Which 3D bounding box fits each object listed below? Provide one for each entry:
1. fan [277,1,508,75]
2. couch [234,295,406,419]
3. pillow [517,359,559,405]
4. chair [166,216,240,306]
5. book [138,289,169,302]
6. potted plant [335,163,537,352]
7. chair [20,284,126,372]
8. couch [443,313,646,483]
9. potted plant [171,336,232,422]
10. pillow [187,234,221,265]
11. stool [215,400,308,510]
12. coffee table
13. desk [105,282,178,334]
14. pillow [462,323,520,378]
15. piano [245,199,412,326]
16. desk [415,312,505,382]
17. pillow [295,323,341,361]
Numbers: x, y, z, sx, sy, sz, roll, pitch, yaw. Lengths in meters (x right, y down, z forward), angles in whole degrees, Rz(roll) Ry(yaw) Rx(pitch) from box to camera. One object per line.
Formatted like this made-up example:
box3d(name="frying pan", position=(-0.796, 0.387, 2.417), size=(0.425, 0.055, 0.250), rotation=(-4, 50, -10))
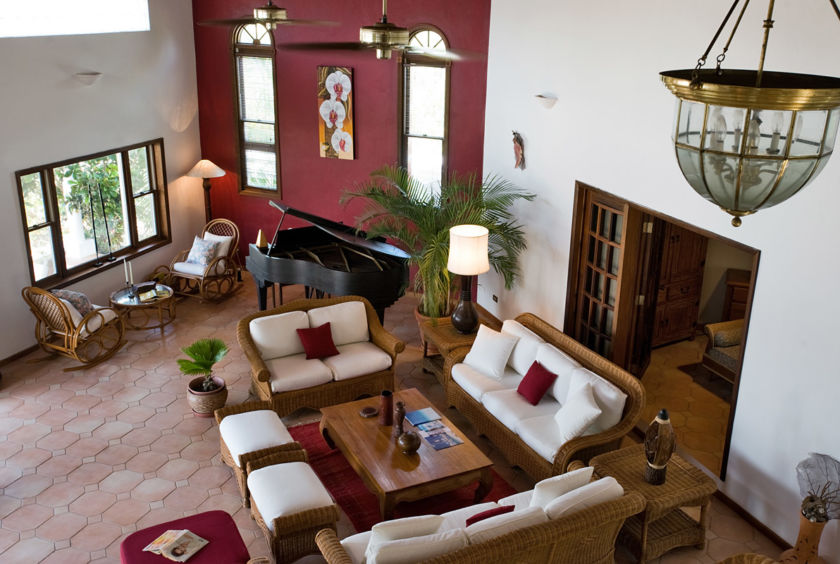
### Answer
box3d(name="fan", position=(-0.292, -3.919, 9.456), size=(2.006, 0.879, 2.206), rotation=(-11, 21, -41))
box3d(name="couch", position=(-1.365, 1.001, 8.061), size=(2.030, 1.157, 1.127), rotation=(-9, 21, -29))
box3d(name="pillow", position=(1.423, 1.220, 7.162), size=(0.478, 0.444, 0.146), rotation=(39, 10, 35))
box3d(name="chair", position=(-4.001, -0.412, 11.023), size=(0.977, 1.354, 1.289), rotation=(11, 16, 25))
box3d(name="book", position=(-4.373, 0.198, 9.760), size=(0.323, 0.098, 0.236), rotation=(-17, 29, -38))
box3d(name="potted plant", position=(0.107, -0.474, 9.703), size=(2.749, 1.924, 2.569), rotation=(-4, 15, -28))
box3d(name="chair", position=(-5.251, 0.565, 9.004), size=(0.996, 1.401, 1.156), rotation=(6, 20, 4))
box3d(name="couch", position=(1.420, 1.431, 7.390), size=(1.271, 1.225, 2.589), rotation=(-9, 22, -25))
box3d(name="potted plant", position=(-2.949, 1.349, 8.007), size=(0.613, 0.857, 0.675), rotation=(-18, 34, -41))
box3d(name="pillow", position=(-3.959, -0.563, 10.866), size=(0.522, 0.490, 0.164), rotation=(14, -12, 19))
box3d(name="stool", position=(-1.706, 1.780, 6.598), size=(0.918, 0.634, 1.202), rotation=(-9, 34, -22))
box3d(name="coffee table", position=(-0.074, 1.887, 6.522), size=(1.247, 0.574, 1.772), rotation=(-9, 24, -25))
box3d(name="desk", position=(-4.691, 0.439, 9.959), size=(1.023, 0.557, 1.039), rotation=(5, 22, 8))
box3d(name="pillow", position=(0.918, 0.891, 7.658), size=(0.625, 0.578, 0.189), rotation=(22, -2, 40))
box3d(name="piano", position=(-1.335, -0.197, 9.650), size=(1.748, 1.885, 2.688), rotation=(-21, 32, -41))
box3d(name="desk", position=(0.571, 0.765, 8.732), size=(0.981, 0.937, 1.215), rotation=(-6, 27, -23))
box3d(name="pillow", position=(-1.358, 0.788, 7.867), size=(0.490, 0.463, 0.146), rotation=(-15, -7, -27))
